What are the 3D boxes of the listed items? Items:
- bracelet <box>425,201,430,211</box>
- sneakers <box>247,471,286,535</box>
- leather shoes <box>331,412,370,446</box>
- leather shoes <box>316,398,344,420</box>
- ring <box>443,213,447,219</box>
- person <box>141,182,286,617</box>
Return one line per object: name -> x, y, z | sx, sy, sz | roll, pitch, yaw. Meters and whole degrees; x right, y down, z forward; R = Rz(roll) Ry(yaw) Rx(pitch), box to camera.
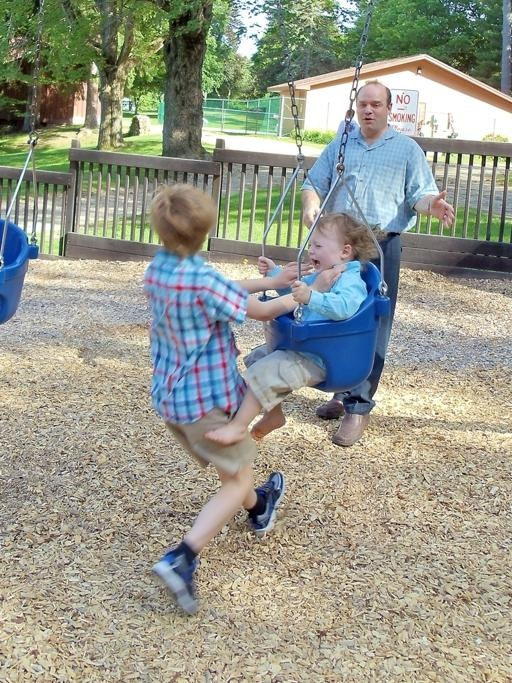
bracelet -> 0.792, -0.621, 2.731 | 0.024, 0.058, 0.046 | 8, 13, 13
sneakers -> 0.046, 0.553, 2.097 | 0.086, 0.103, 0.239 | -9, 40, 35
leather shoes -> 0.462, 0.430, 2.892 | 0.091, 0.095, 0.249 | 5, 8, 23
leather shoes -> 0.408, 0.364, 3.207 | 0.178, 0.066, 0.088 | 5, 6, 30
ring -> 0.853, -0.565, 2.692 | 0.008, 0.024, 0.024 | -2, 14, -26
person -> -0.107, 0.163, 1.687 | 0.324, 1.171, 0.574 | 14, 16, 35
